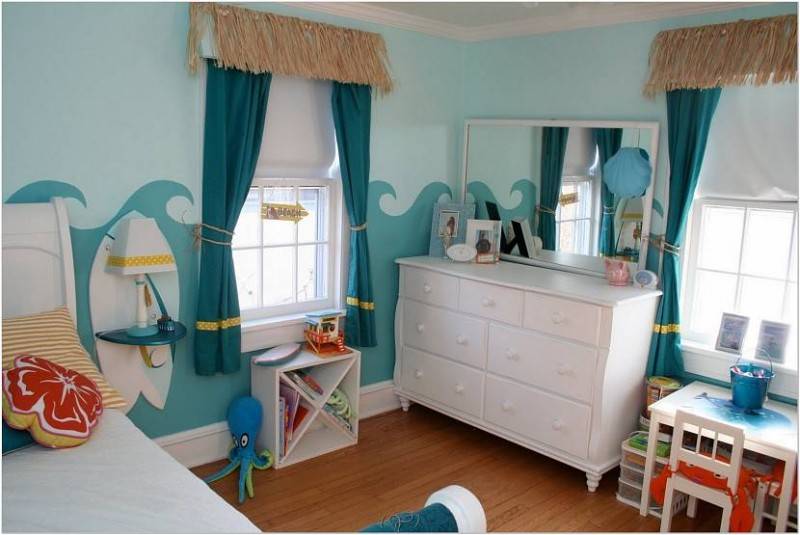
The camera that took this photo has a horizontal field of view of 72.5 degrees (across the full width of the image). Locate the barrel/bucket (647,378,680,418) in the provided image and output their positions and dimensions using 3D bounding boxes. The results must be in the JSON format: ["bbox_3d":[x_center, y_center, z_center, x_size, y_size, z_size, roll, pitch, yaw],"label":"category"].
[{"bbox_3d":[1.625,0.810,3.366,0.184,0.265,0.190,0,13,0],"label":"barrel/bucket"}]

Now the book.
[{"bbox_3d":[-0.607,1.042,3.810,0.200,0.602,0.619,4,1,42],"label":"book"}]

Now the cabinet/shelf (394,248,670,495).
[{"bbox_3d":[0.799,0.627,4.050,1.795,1.282,0.763,10,18,41],"label":"cabinet/shelf"}]

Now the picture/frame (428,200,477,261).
[{"bbox_3d":[0.402,-0.276,4.275,0.413,0.577,0.056,8,7,27],"label":"picture/frame"}]

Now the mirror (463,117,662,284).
[{"bbox_3d":[1.195,-0.447,3.873,0.031,0.806,1.135,-9,15,-42],"label":"mirror"}]

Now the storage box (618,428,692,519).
[{"bbox_3d":[1.552,1.325,3.410,0.254,0.270,0.301,-9,10,-31],"label":"storage box"}]

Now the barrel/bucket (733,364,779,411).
[{"bbox_3d":[2.074,0.704,3.209,0.216,0.232,0.217,-2,8,0],"label":"barrel/bucket"}]

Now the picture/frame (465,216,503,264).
[{"bbox_3d":[0.638,-0.189,4.165,0.234,0.317,0.026,2,-21,7],"label":"picture/frame"}]

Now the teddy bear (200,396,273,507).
[{"bbox_3d":[-1.079,1.169,3.550,0.447,0.541,0.450,-1,8,-8],"label":"teddy bear"}]

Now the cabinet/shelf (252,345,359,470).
[{"bbox_3d":[-0.676,0.963,3.757,0.746,0.706,0.290,-4,7,-39],"label":"cabinet/shelf"}]
